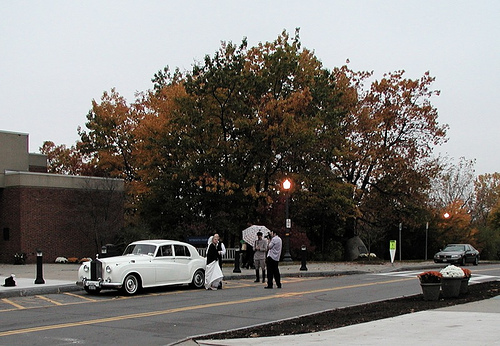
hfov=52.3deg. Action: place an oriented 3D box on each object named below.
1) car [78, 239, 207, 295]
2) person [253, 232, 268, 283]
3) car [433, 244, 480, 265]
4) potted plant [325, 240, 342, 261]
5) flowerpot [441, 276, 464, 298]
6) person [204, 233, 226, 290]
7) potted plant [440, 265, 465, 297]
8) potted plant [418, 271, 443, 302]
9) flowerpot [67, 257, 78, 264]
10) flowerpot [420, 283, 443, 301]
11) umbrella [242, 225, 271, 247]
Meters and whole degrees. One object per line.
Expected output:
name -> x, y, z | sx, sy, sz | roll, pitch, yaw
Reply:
car -> -4.280, 3.968, 21.293 | 2.138, 1.821, 5.103 | -11, -17, 35
person -> 0.443, 4.094, 24.911 | 0.703, 2.387, 0.669 | -4, -8, 29
car -> 16.110, 6.334, 39.764 | 3.558, 1.612, 1.588 | 8, -13, -35
potted plant -> 7.596, 7.069, 46.206 | 1.275, 1.620, 0.872 | 19, -28, -30
flowerpot -> 7.236, 4.069, 18.308 | 0.743, 0.755, 0.357 | 0, -9, -5
person -> -1.564, 3.893, 22.553 | 0.843, 2.414, 1.106 | 0, -9, -5
potted plant -> 7.387, 3.882, 18.339 | 0.876, 1.019, 0.946 | 5, -13, -12
potted plant -> 6.366, 4.083, 18.086 | 0.920, 1.131, 1.036 | -6, -7, -4
flowerpot -> -13.209, 6.444, 37.906 | 0.723, 0.566, 2.197 | 3, -13, -20
flowerpot -> 6.346, 4.192, 17.828 | 0.541, 0.480, 0.593 | -4, -19, 24
umbrella -> 0.278, 3.824, 31.370 | 1.405, 1.463, 2.864 | -1, -11, 2
